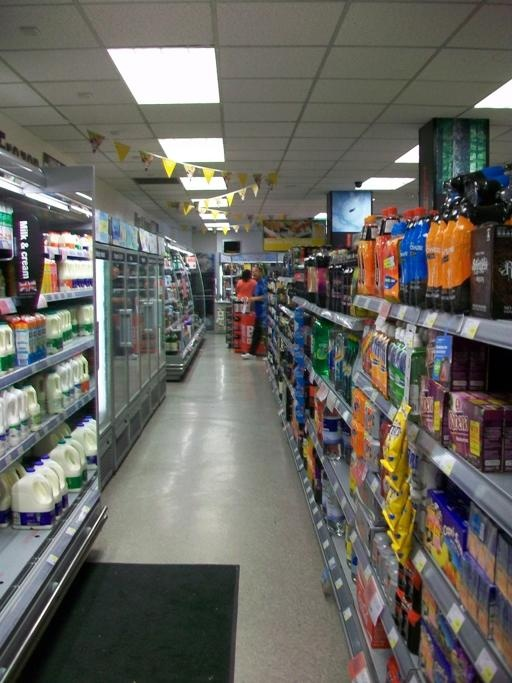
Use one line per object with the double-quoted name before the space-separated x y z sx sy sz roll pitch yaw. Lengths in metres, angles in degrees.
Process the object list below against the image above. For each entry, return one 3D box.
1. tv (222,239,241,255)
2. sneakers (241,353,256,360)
"tv" -0.867 -3.626 16.197 0.673 0.619 0.440 0 21 -2
"sneakers" -0.146 0.364 10.779 0.377 0.205 0.140 11 -12 -37
